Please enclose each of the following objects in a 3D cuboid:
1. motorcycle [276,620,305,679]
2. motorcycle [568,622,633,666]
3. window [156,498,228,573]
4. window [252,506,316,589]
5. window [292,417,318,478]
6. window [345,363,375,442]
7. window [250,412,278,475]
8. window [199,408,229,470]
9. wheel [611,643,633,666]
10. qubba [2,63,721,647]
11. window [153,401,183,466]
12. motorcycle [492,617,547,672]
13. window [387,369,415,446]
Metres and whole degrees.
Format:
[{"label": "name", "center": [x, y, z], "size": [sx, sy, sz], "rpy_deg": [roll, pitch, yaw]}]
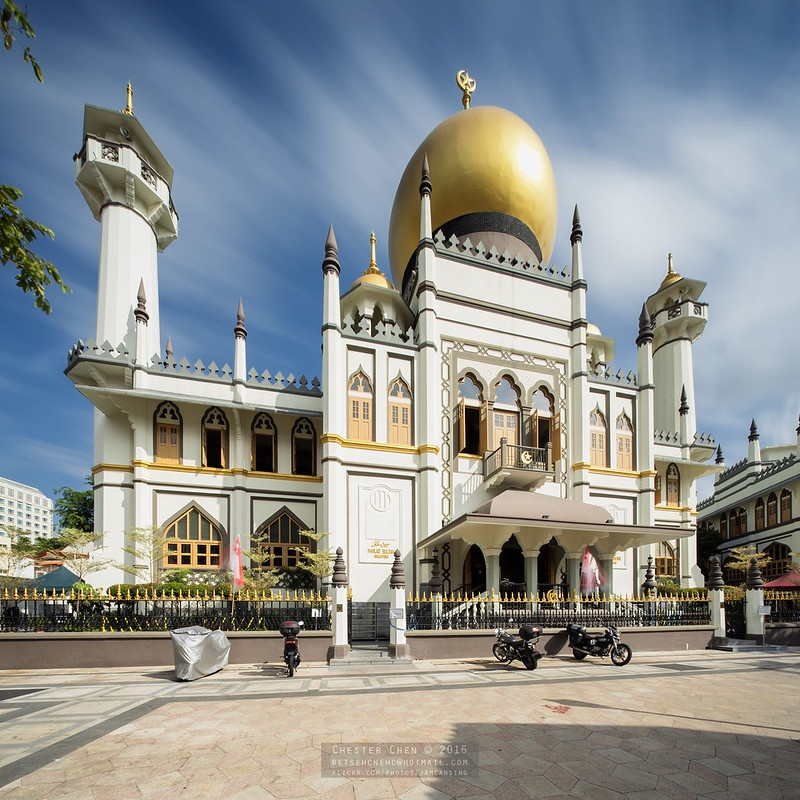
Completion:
[{"label": "motorcycle", "center": [-2.296, 5.113, 19.715], "size": [0.432, 0.988, 1.319], "rpy_deg": [0, 0, -9]}, {"label": "motorcycle", "center": [4.593, 5.577, 21.420], "size": [1.406, 1.018, 0.719], "rpy_deg": [-16, -29, 42]}, {"label": "window", "center": [-5.742, 3.801, 26.036], "size": [1.665, 0.117, 2.361], "rpy_deg": [2, -54, -13]}, {"label": "window", "center": [-3.304, 4.190, 26.879], "size": [1.771, 0.130, 2.727], "rpy_deg": [3, -63, -3]}, {"label": "window", "center": [-2.936, 1.431, 28.423], "size": [0.692, 2.202, 0.099], "rpy_deg": [6, -38, -13]}, {"label": "window", "center": [-1.146, 0.195, 26.978], "size": [0.793, 2.359, 0.129], "rpy_deg": [7, -31, -16]}, {"label": "window", "center": [-4.076, 1.224, 27.889], "size": [0.760, 2.163, 0.229], "rpy_deg": [6, -35, -18]}, {"label": "window", "center": [-5.355, 1.126, 27.123], "size": [0.712, 2.300, 0.306], "rpy_deg": [6, -32, -19]}, {"label": "wheel", "center": [4.975, 5.702, 21.021], "size": [0.505, 0.497, 0.652], "rpy_deg": [2, -16, -10]}, {"label": "qubba", "center": [-0.862, 0.936, 26.465], "size": [11.302, 12.593, 6.632], "rpy_deg": [6, -15, -26]}, {"label": "window", "center": [-6.638, 0.961, 26.793], "size": [0.709, 2.246, 0.099], "rpy_deg": [5, -38, -20]}, {"label": "motorcycle", "center": [2.586, 5.489, 20.787], "size": [0.528, 0.970, 1.313], "rpy_deg": [8, -18, -33]}, {"label": "window", "center": [-0.019, 0.377, 27.394], "size": [0.680, 2.250, 0.194], "rpy_deg": [6, -29, -11]}]
